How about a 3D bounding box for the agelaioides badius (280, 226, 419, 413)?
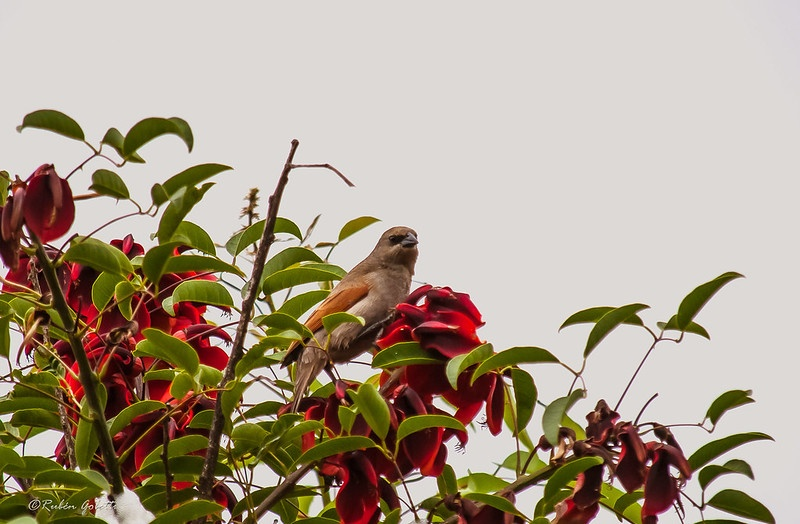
[{"bbox_3d":[-0.245,0.258,6.243,0.842,0.876,0.346,-17,-36,19],"label":"agelaioides badius"}]
